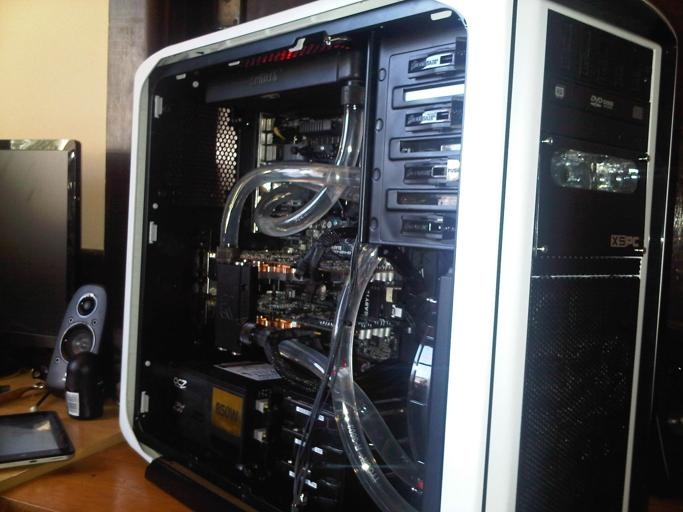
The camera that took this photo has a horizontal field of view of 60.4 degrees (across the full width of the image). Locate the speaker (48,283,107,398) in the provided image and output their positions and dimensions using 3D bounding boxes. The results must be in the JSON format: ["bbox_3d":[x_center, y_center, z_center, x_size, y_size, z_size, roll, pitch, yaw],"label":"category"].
[{"bbox_3d":[-0.800,0.224,1.789,0.159,0.363,0.077,7,4,30],"label":"speaker"}]
